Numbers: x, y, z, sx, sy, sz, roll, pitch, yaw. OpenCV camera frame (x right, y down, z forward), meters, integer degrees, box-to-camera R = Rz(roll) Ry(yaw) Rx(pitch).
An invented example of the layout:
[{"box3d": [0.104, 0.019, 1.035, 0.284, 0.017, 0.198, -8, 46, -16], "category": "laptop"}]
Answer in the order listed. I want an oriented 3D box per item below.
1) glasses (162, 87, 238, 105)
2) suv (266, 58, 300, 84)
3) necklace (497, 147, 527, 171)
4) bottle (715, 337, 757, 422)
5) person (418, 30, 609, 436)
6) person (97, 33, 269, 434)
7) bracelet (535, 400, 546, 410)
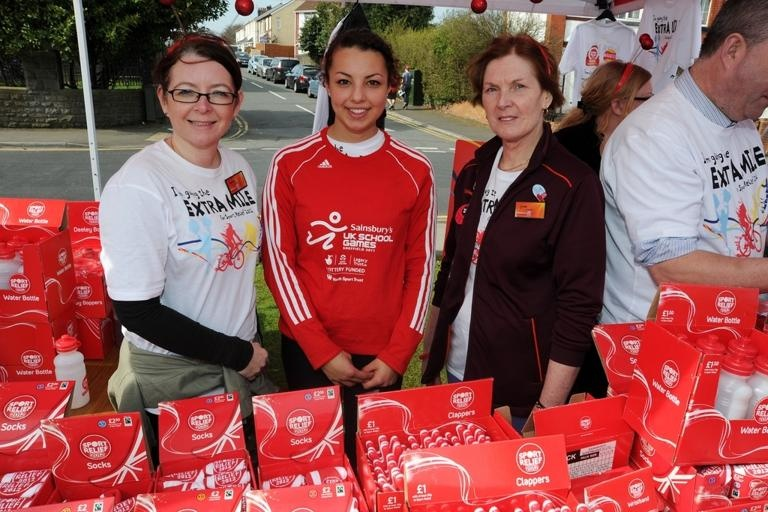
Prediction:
[{"box3d": [-0.841, -0.747, 2.598, 0.292, 0.080, 0.075, -6, 18, -16], "category": "glasses"}, {"box3d": [-6.409, -11.991, 35.599, 1.421, 1.334, 3.161, -4, 32, -15], "category": "suv"}, {"box3d": [0.655, -0.499, 2.875, 0.109, 0.058, 0.150, 12, 2, 0], "category": "necklace"}, {"box3d": [1.308, 0.468, 2.069, 0.127, 0.282, 0.083, -3, 17, -9], "category": "bottle"}, {"box3d": [0.652, -0.096, 2.801, 0.925, 1.949, 0.574, 15, 23, 41], "category": "person"}, {"box3d": [-0.974, -0.115, 2.629, 0.778, 1.781, 0.587, -5, 18, -15], "category": "person"}, {"box3d": [0.745, 0.726, 2.656, 0.052, 0.045, 0.041, 0, 2, 43], "category": "bracelet"}]
